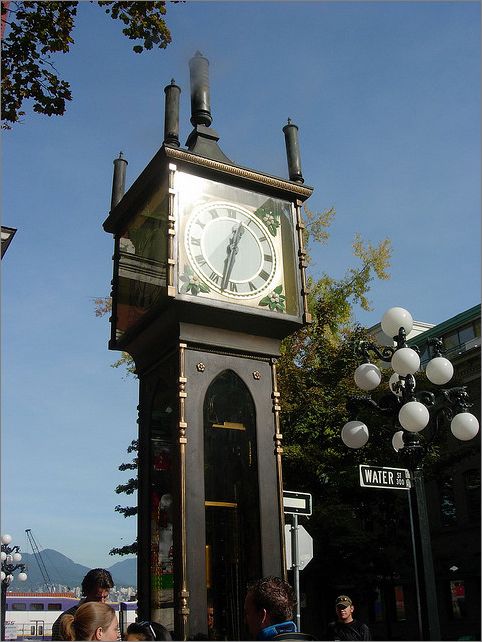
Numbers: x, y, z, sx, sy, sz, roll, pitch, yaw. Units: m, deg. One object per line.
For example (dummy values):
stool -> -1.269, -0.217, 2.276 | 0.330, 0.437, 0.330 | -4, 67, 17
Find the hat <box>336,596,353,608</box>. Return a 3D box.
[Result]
hat -> 1.105, 3.014, 8.258 | 0.118, 0.102, 0.172 | -16, -38, 14

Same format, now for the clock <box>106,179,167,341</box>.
clock -> -1.043, -0.597, 8.031 | 0.115, 1.370, 1.410 | 16, -39, -21

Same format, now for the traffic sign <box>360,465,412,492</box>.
traffic sign -> 1.518, 1.666, 8.080 | 0.613, 0.292, 0.402 | -1, -25, -5

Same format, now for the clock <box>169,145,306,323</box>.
clock -> -0.111, -0.792, 7.860 | 1.906, 1.785, 0.184 | 13, -32, -30
